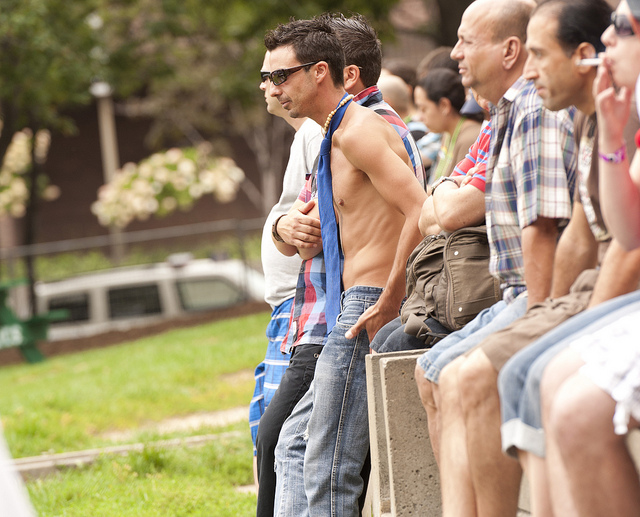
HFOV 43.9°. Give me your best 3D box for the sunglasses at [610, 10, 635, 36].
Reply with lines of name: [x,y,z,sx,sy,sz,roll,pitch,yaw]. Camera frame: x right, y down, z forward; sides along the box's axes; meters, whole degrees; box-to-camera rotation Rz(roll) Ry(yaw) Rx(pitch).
sunglasses: [0.972,-0.745,2.515,0.061,0.023,0.065,39,10,33]

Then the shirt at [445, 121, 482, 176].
shirt: [0.905,-0.723,4.968,0.114,0.372,0.248,13,-5,9]

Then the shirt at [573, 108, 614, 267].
shirt: [0.990,-0.256,2.872,0.120,0.565,0.215,2,7,5]

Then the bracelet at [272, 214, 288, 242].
bracelet: [-0.200,-0.164,4.099,0.107,0.140,0.075,3,2,-18]

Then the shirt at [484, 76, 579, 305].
shirt: [0.816,-0.176,3.214,0.278,1.122,0.493,-4,6,-12]

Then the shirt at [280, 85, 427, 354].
shirt: [0.143,-0.153,3.633,0.492,1.503,0.827,12,-17,-3]

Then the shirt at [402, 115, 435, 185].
shirt: [0.832,-0.867,6.458,0.189,0.507,0.467,4,18,-22]

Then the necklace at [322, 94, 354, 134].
necklace: [0.061,-0.662,3.640,0.030,0.178,0.144,31,27,0]

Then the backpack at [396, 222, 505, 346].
backpack: [0.606,0.101,3.446,0.462,0.531,0.279,-3,7,-20]

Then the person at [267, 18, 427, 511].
person: [0.089,0.032,3.622,0.535,2.261,0.784,-4,9,-40]

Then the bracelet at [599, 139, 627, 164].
bracelet: [0.950,-0.345,2.541,0.064,0.046,0.060,0,0,11]

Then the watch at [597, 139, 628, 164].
watch: [0.956,-0.343,2.562,0.071,0.049,0.069,-3,0,14]

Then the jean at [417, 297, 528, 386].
jean: [0.582,0.283,3.040,0.417,0.159,0.260,-38,7,-7]

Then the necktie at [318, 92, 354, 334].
necktie: [0.061,-0.246,3.645,0.106,1.177,0.081,1,-4,21]
